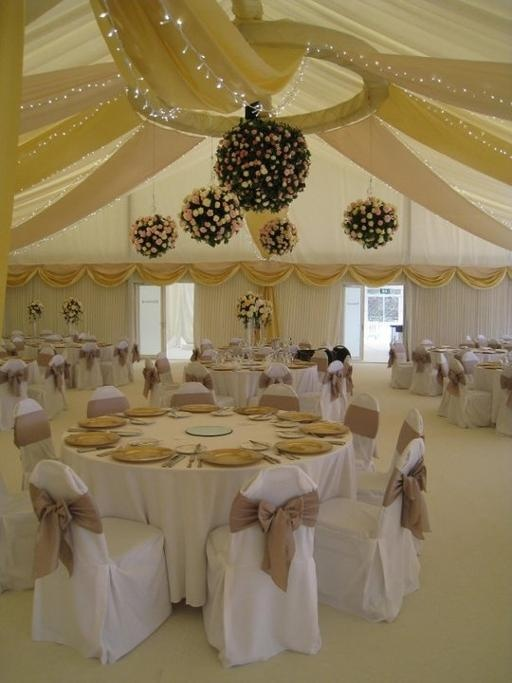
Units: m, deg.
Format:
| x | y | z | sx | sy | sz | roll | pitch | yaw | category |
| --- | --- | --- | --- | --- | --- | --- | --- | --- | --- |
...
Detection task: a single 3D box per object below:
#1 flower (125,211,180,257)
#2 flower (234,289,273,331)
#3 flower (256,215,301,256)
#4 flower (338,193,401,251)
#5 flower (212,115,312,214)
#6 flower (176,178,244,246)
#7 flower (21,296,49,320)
| x | y | z | sx | sy | sz | roll | pitch | yaw | category |
| --- | --- | --- | --- | --- | --- | --- | --- | --- | --- |
| -1.347 | -1.466 | 6.549 | 0.548 | 0.632 | 0.727 | 3 | 3 | -6 | flower |
| -0.053 | -0.461 | 7.193 | 0.461 | 0.560 | 0.526 | -1 | 6 | -7 | flower |
| 0.321 | -1.608 | 7.368 | 0.493 | 0.575 | 0.392 | 5 | 4 | 24 | flower |
| 1.294 | -1.434 | 5.733 | 0.571 | 0.608 | 0.557 | 1 | 4 | -35 | flower |
| 0.080 | -1.507 | 4.381 | 0.721 | 0.878 | 0.537 | -6 | 0 | 5 | flower |
| -0.455 | -1.263 | 5.088 | 0.612 | 0.580 | 0.654 | 0 | -1 | 4 | flower |
| -6.195 | -0.968 | 13.811 | 0.765 | 0.836 | 0.310 | -12 | -12 | 38 | flower |
